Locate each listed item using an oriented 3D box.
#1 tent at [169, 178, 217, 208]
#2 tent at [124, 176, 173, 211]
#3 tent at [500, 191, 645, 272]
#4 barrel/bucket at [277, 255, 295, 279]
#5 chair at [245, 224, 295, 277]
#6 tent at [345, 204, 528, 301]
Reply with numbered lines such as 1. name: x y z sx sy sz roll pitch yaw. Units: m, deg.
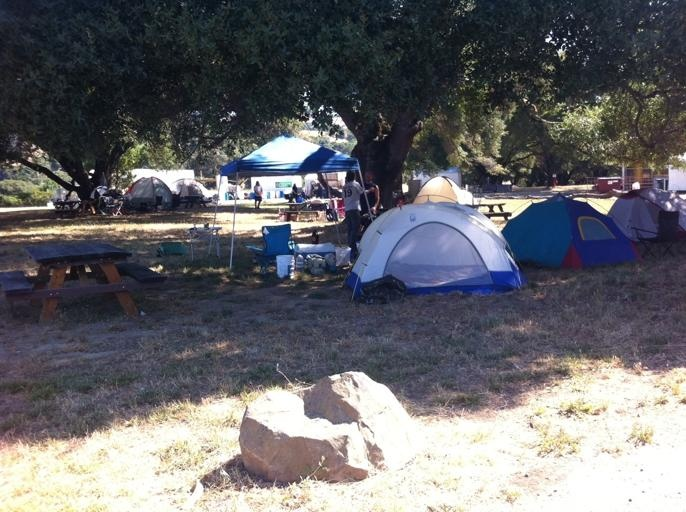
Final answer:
1. tent: -9.780 -3.896 38.964 2.175 2.146 6.135 -5 15 -14
2. tent: -10.824 -3.202 33.678 1.887 1.587 2.071 -3 13 -12
3. tent: 5.071 -0.526 13.685 1.823 1.038 1.880 8 16 38
4. barrel/bucket: -1.319 0.231 13.693 0.401 0.902 0.442 0 1 2
5. chair: -1.813 -0.300 15.202 0.733 1.062 1.440 -2 16 -9
6. tent: 1.765 -0.067 11.597 1.983 1.079 2.183 -3 11 -6
